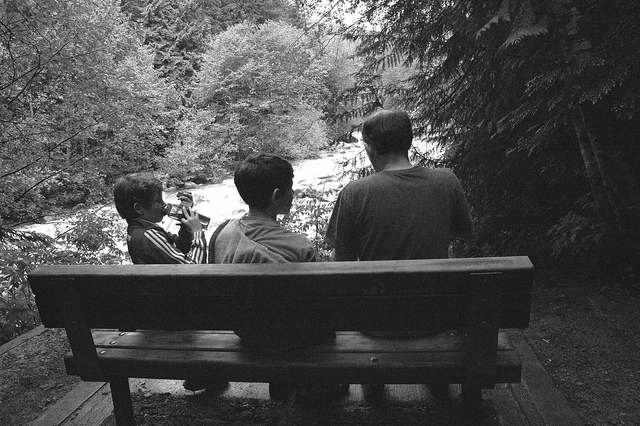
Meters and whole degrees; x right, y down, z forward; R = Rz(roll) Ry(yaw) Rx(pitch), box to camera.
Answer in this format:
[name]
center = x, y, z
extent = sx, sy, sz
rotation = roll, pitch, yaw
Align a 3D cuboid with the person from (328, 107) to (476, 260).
[person]
center = 0.595, -0.212, 3.843
extent = 0.965, 1.102, 0.602
rotation = 2, 12, 27
